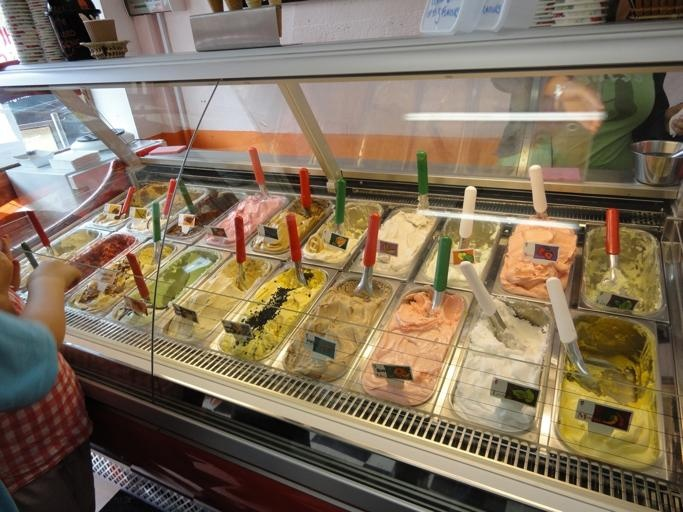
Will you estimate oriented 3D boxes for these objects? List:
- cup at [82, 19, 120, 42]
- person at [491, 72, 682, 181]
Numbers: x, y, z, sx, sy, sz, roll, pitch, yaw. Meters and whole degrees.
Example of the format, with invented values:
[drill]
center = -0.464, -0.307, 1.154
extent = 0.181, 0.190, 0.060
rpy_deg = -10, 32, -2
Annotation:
[cup]
center = -1.020, -0.938, 1.697
extent = 0.141, 0.102, 0.131
rpy_deg = -7, 17, 2
[person]
center = 1.080, -0.537, 1.633
extent = 0.905, 0.406, 0.389
rpy_deg = -10, 29, -18
